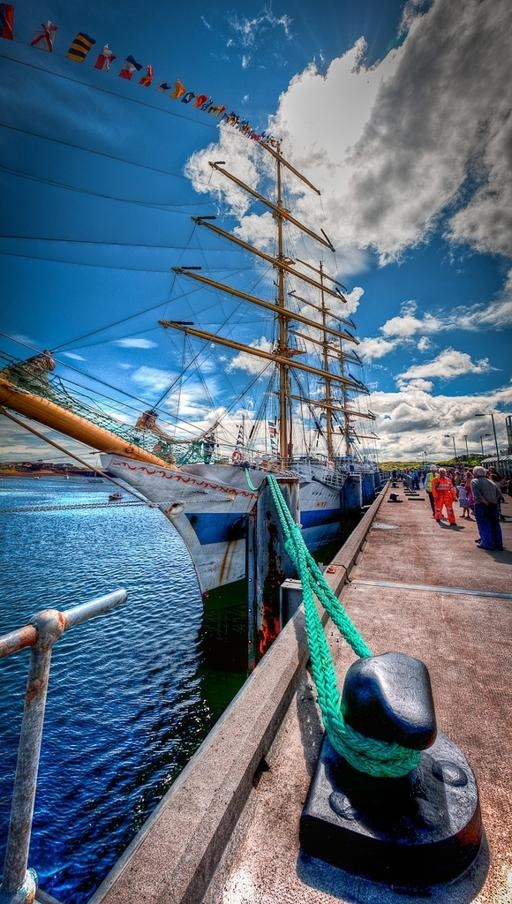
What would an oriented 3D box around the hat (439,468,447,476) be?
[{"bbox_3d":[4.283,0.483,10.331,0.200,0.146,0.138,-12,-47,1],"label":"hat"}]
